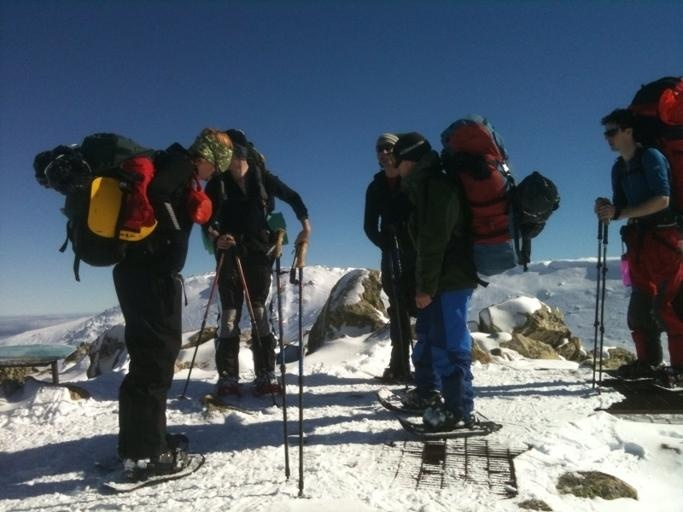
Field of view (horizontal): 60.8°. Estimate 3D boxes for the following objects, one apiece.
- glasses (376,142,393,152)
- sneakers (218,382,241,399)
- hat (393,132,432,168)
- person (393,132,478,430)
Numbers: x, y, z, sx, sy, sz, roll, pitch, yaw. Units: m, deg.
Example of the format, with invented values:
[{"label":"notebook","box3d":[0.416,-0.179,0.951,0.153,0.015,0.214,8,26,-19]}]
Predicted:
[{"label":"glasses","box3d":[0.576,-1.444,7.649,0.216,0.178,0.200,-1,10,7]},{"label":"sneakers","box3d":[-1.419,1.693,7.374,0.206,0.125,0.205,0,-3,-13]},{"label":"hat","box3d":[0.777,-1.110,6.285,0.470,0.430,0.350,-4,4,21]},{"label":"person","box3d":[1.020,0.264,6.100,0.768,3.079,0.962,-3,9,-4]}]
